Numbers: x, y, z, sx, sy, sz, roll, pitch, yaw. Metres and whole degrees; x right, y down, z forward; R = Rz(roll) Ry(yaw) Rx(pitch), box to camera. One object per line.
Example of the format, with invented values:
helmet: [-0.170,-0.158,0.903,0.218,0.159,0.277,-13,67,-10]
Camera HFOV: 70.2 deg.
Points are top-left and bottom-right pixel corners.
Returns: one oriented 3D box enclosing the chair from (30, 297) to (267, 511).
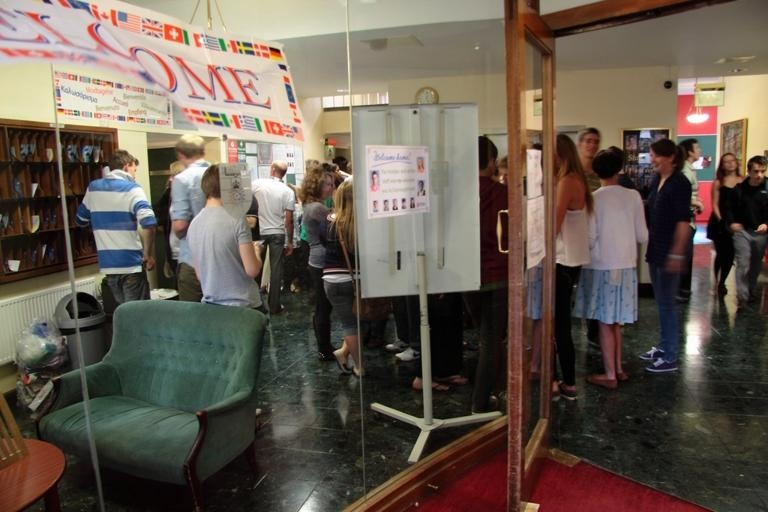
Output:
chair: [-1.145,0.761,2.738,1.129,0.931,0.903,5,5,16]

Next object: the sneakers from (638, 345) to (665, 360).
sneakers: [2.173,0.781,4.384,0.076,0.088,0.214,-20,-3,-18]

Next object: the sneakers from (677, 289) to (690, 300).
sneakers: [3.352,0.442,6.095,0.144,0.105,0.144,-6,10,-37]

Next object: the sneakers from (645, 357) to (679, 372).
sneakers: [2.155,0.853,4.278,0.270,0.107,0.099,-2,3,10]

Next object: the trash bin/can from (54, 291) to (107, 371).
trash bin/can: [-1.318,0.321,2.394,0.195,0.364,0.156,-10,15,-28]

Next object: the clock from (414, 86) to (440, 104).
clock: [0.218,-0.830,2.809,0.116,0.114,0.024,1,1,0]
